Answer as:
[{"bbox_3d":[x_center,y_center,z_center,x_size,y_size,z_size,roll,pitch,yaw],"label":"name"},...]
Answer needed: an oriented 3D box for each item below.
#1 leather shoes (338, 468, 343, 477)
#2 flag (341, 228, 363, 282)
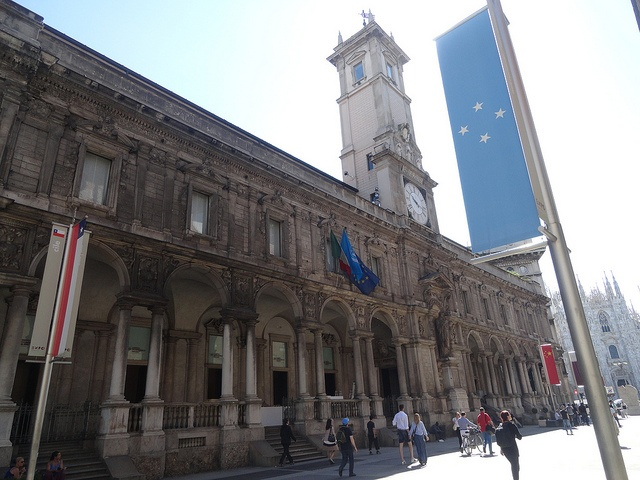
[{"bbox_3d":[0.742,8.326,14.518,0.136,0.280,0.184,-1,-11,1],"label":"leather shoes"},{"bbox_3d":[1.831,0.908,24.968,0.660,3.310,1.287,-24,-29,39],"label":"flag"}]
